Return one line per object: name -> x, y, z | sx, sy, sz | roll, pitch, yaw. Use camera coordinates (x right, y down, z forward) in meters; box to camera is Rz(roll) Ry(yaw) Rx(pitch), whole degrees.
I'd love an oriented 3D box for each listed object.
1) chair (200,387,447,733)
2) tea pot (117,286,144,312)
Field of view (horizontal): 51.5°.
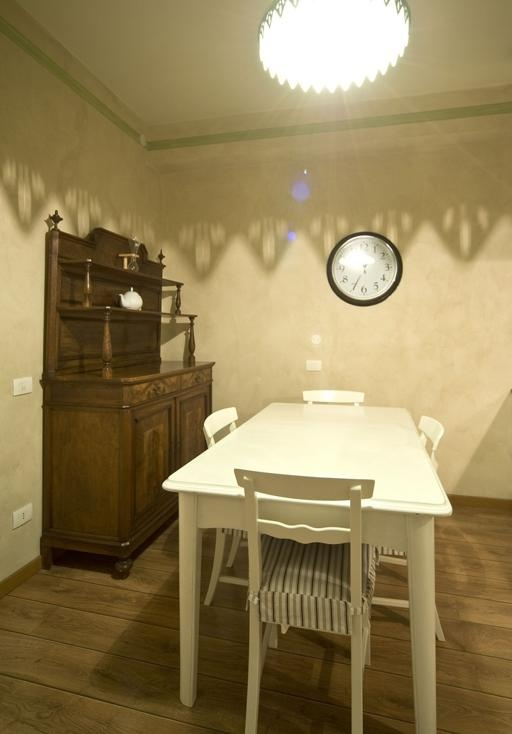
chair -> 0.290, 0.706, 2.572 | 1.041, 1.033, 0.933 | 1, 4, 13
tea pot -> -0.714, -0.381, 3.056 | 0.107, 0.170, 0.167 | 1, -6, 0
